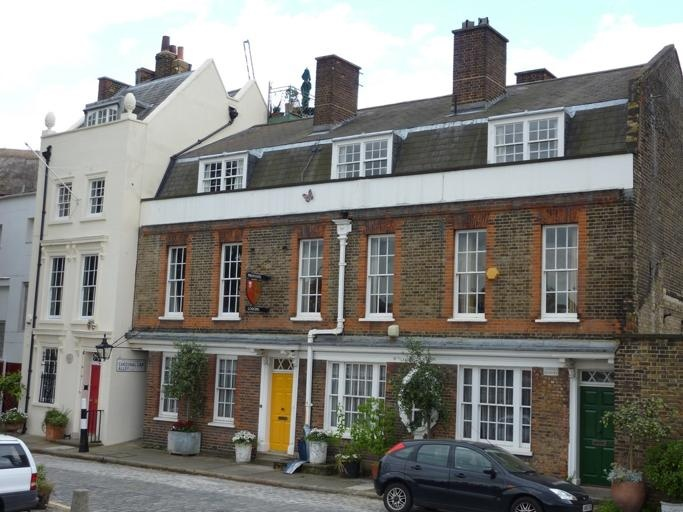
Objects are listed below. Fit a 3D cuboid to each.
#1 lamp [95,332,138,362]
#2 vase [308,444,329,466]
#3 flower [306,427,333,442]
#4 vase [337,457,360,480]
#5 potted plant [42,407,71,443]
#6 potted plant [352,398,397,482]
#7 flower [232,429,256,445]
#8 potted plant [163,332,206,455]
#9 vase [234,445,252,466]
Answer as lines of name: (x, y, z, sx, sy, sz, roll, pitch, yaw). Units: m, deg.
lamp: (-8.410, 3.241, 33.997, 1.173, 1.104, 1.217, 2, -10, -3)
vase: (-0.703, 6.129, 29.543, 0.577, 0.713, 0.396, 3, -10, -9)
flower: (-0.654, 5.641, 29.793, 0.489, 0.289, 0.501, 0, -4, 11)
vase: (0.272, 6.445, 28.882, 0.618, 0.462, 0.614, 2, -2, -28)
potted plant: (-10.470, 6.146, 34.647, 0.836, 1.165, 0.813, -5, -12, 32)
potted plant: (1.081, 5.495, 29.463, 1.956, 2.760, 1.925, 1, -11, 0)
flower: (-3.132, 5.937, 31.080, 0.494, 0.353, 0.509, 2, -1, 7)
potted plant: (-5.323, 4.832, 32.305, 1.242, 3.861, 1.114, 11, -14, -42)
vase: (-3.195, 6.442, 30.818, 0.544, 0.488, 0.533, 0, -10, 15)
